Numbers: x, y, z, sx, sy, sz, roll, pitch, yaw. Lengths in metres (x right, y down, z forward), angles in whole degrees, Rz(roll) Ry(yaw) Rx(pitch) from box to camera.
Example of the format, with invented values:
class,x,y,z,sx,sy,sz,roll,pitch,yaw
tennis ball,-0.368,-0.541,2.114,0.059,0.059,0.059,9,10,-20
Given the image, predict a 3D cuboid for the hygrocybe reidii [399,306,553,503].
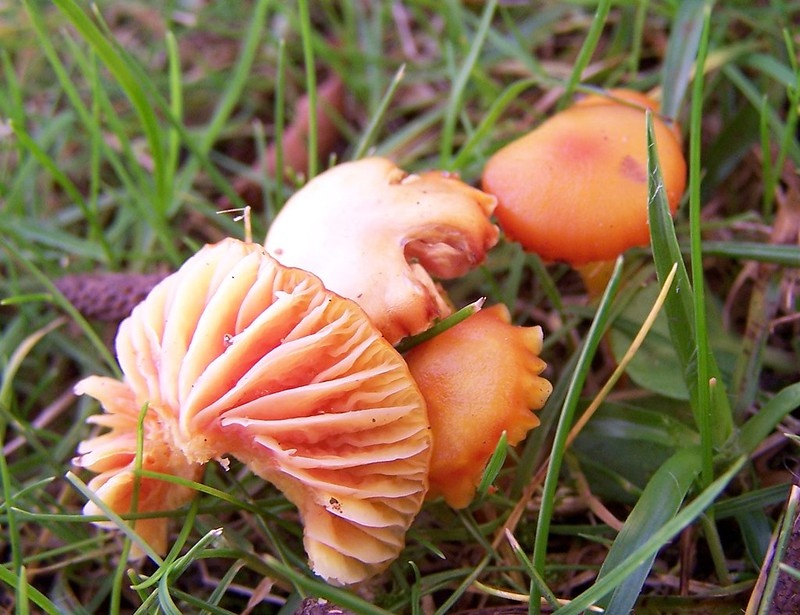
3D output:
class,x,y,z,sx,sy,sz,roll,pitch,yaw
hygrocybe reidii,0.232,0.249,2.201,0.426,0.330,0.446,-38,61,24
